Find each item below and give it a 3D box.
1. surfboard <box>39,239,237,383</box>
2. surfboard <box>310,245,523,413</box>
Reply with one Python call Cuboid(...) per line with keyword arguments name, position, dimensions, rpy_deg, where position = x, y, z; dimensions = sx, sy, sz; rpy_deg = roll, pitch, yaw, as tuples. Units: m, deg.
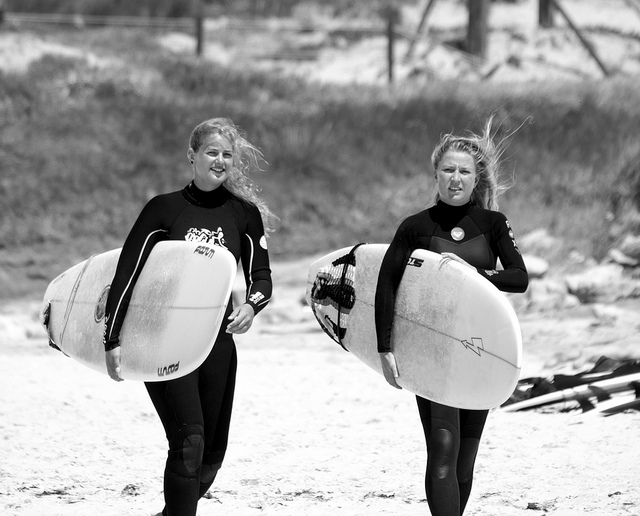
Cuboid(name="surfboard", position=(-1.386, 0.352, 9.035), dimensions=(1.417, 1.035, 0.555), rpy_deg=(7, 6, 32))
Cuboid(name="surfboard", position=(0.665, 0.506, 9.016), dimensions=(1.647, 1.152, 0.534), rpy_deg=(9, 7, 44))
